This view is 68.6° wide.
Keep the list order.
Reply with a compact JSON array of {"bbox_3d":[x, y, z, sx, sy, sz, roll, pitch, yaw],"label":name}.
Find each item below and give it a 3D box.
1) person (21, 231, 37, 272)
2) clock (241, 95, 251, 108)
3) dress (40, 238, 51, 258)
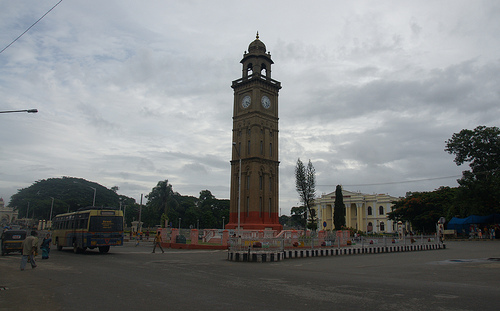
[{"bbox_3d":[-13.028,5.569,21.688,0.799,2.229,1.517,8,-16,-29],"label":"person"},{"bbox_3d":[-0.676,-9.284,63.243,2.214,2.158,0.112,-13,-19,41],"label":"clock"},{"bbox_3d":[-15.022,6.729,26.868,0.549,1.408,1.690,8,-16,-28],"label":"dress"}]
